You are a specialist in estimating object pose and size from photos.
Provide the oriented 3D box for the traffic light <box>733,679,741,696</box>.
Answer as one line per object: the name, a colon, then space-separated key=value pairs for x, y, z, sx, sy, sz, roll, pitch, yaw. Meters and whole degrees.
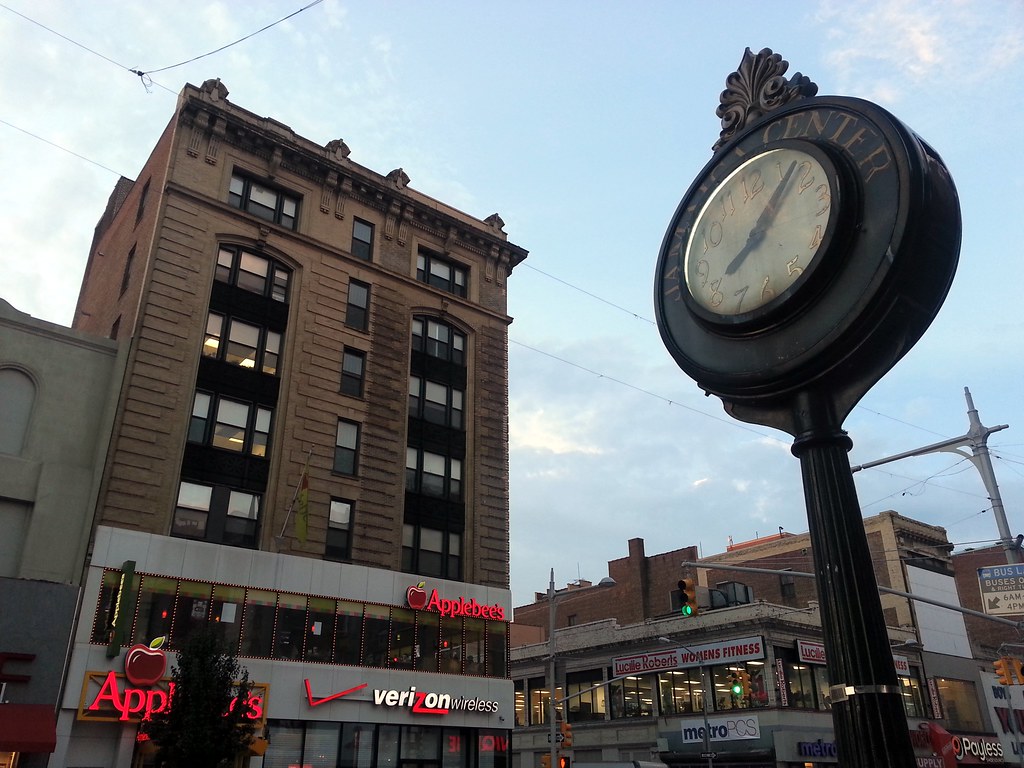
traffic light: x=10.719 y=14.452 z=35.642 sx=0.316 sy=0.613 sz=0.476 roll=-10 pitch=-27 yaw=16

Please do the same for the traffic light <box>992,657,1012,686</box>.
traffic light: x=19.360 y=11.309 z=29.730 sx=0.477 sy=1.050 sz=2.207 roll=-16 pitch=-30 yaw=28
